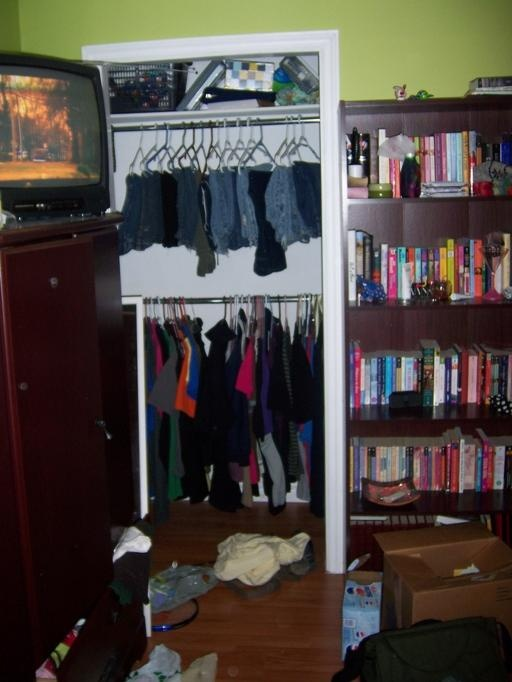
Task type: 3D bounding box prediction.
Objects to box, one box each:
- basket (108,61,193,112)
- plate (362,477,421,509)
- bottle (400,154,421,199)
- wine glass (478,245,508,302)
[{"bbox_3d":[-0.511,-1.144,2.672,0.263,0.279,0.100,2,10,-4],"label":"basket"},{"bbox_3d":[0.571,0.644,2.503,0.131,0.060,0.125,-11,25,2],"label":"plate"},{"bbox_3d":[0.599,-0.636,2.288,0.081,0.176,0.208,1,8,14],"label":"bottle"},{"bbox_3d":[0.968,-0.282,2.406,0.096,0.219,0.154,3,8,31],"label":"wine glass"}]
